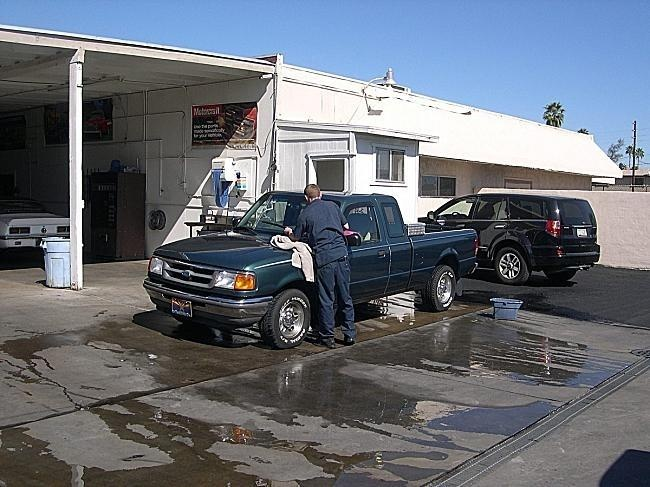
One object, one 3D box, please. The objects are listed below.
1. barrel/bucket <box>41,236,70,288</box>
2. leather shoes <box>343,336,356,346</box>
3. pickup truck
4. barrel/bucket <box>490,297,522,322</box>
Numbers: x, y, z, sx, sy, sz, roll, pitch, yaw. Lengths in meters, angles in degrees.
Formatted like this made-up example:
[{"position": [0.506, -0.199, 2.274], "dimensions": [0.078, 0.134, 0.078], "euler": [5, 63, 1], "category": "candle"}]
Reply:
[{"position": [-5.927, 0.436, 10.822], "dimensions": [0.521, 1.096, 0.491], "euler": [2, 2, 0], "category": "barrel/bucket"}, {"position": [0.363, 1.451, 7.411], "dimensions": [0.158, 0.132, 0.134], "euler": [-16, 16, -42], "category": "leather shoes"}, {"position": [0.274, 0.319, 8.488], "dimensions": [2.524, 1.754, 5.502], "euler": [3, 2, 43], "category": "pickup truck"}, {"position": [3.442, 1.251, 9.447], "dimensions": [0.550, 0.270, 0.428], "euler": [1, -3, 10], "category": "barrel/bucket"}]
